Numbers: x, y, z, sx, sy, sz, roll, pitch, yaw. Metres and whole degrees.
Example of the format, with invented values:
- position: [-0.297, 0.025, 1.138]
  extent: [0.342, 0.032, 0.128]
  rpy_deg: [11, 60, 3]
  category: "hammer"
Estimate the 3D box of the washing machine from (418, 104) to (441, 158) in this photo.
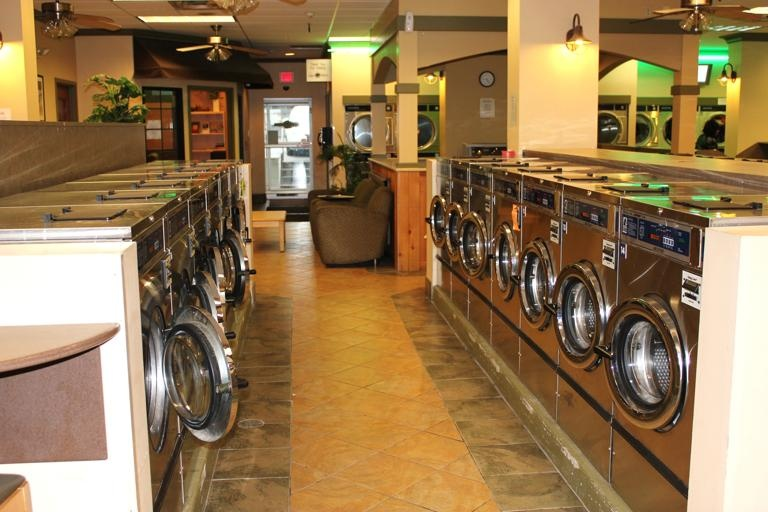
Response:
- position: [1.148, -3.258, 13.445]
  extent: [0.522, 1.287, 0.594]
  rpy_deg: [0, 14, 4]
  category: "washing machine"

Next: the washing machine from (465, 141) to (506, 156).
- position: [2.266, -2.368, 11.522]
  extent: [0.917, 0.238, 0.607]
  rpy_deg: [-1, 14, -1]
  category: "washing machine"

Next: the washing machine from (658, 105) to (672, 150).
- position: [7.431, -3.423, 13.845]
  extent: [0.300, 1.023, 0.534]
  rpy_deg: [5, 15, 25]
  category: "washing machine"

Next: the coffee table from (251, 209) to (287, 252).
- position: [-1.964, -0.455, 9.318]
  extent: [0.762, 0.733, 0.765]
  rpy_deg: [0, 10, 1]
  category: "coffee table"

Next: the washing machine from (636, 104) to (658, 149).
- position: [6.910, -3.436, 13.766]
  extent: [0.639, 1.006, 0.628]
  rpy_deg: [2, 14, 13]
  category: "washing machine"

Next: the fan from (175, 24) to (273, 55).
- position: [-2.819, -3.525, 8.654]
  extent: [1.275, 0.584, 1.461]
  rpy_deg: [8, 17, 20]
  category: "fan"

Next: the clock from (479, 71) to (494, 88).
- position: [2.311, -3.965, 11.717]
  extent: [0.373, 0.356, 0.087]
  rpy_deg: [-7, 15, -22]
  category: "clock"
